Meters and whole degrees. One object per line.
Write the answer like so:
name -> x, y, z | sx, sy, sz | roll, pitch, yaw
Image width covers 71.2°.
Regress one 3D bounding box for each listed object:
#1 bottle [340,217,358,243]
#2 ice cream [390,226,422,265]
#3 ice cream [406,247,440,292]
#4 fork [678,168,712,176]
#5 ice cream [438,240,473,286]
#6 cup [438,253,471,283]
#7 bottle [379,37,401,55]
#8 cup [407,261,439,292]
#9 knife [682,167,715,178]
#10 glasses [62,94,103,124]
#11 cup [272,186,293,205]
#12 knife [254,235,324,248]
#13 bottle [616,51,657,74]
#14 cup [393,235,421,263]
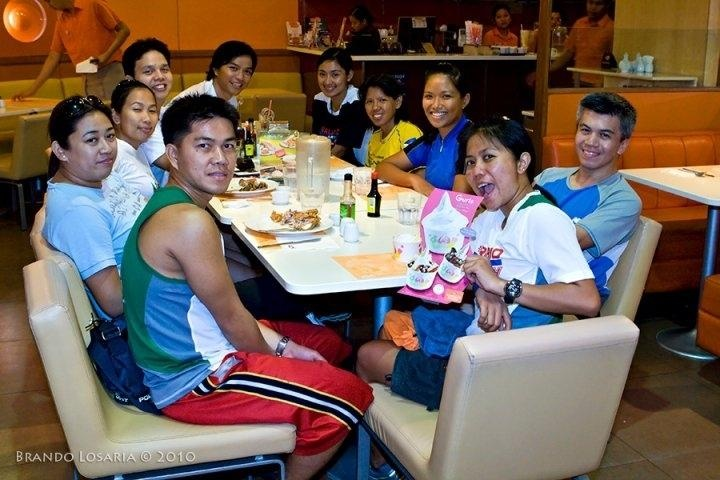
bottle -> -0.050, -0.041, 2.409 | 0.079, 0.111, 0.113 | -1, 6, -10
ice cream -> 0.207, 0.021, 2.244 | 0.106, 0.120, 0.165 | 1, 20, 5
ice cream -> 0.246, 0.113, 1.980 | 0.122, 0.148, 0.111 | 10, 18, 11
fork -> 2.411, -0.487, 3.631 | 0.198, 0.048, 0.036 | 12, 10, 3
ice cream -> 0.386, 0.073, 1.985 | 0.089, 0.149, 0.155 | 32, 43, 29
cup -> 0.360, 0.106, 1.948 | 0.083, 0.079, 0.110 | -2, 26, -19
bottle -> 0.423, -2.713, 7.011 | 0.276, 0.139, 0.382 | -2, 61, 10
cup -> 0.235, 0.140, 1.893 | 0.097, 0.073, 0.107 | 3, -4, 2
knife -> 2.429, -0.484, 3.613 | 0.192, 0.032, 0.223 | 6, 18, 22
glasses -> -1.216, -0.569, 2.196 | 0.134, 0.042, 0.136 | -16, 7, 31
cup -> -0.443, -0.252, 2.864 | 0.093, 0.085, 0.114 | 2, 11, 8
knife -> -0.336, 0.007, 2.352 | 0.339, 0.018, 0.098 | -3, 13, -8
bottle -> 2.635, -1.669, 4.779 | 0.306, 0.192, 0.215 | -5, 19, -6
cup -> 0.201, 0.036, 2.154 | 0.121, 0.087, 0.093 | -5, 11, -40
